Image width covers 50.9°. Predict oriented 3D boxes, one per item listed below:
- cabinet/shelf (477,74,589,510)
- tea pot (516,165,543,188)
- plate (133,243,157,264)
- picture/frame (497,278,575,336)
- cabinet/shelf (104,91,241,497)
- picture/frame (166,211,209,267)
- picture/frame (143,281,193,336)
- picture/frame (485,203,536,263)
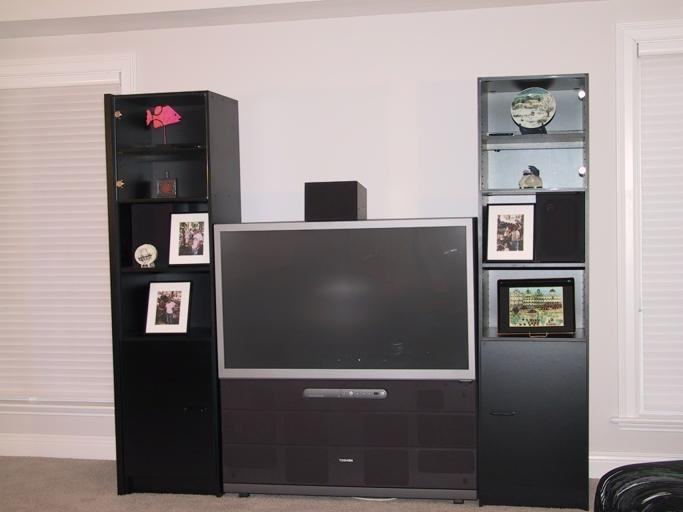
[{"bbox_3d":[1.238,0.226,4.687,0.691,2.752,0.518,0,-3,13],"label":"cabinet/shelf"},{"bbox_3d":[1.251,-0.523,4.755,0.193,0.185,0.134,1,1,2],"label":"tea pot"},{"bbox_3d":[-1.355,-0.012,4.939,0.134,0.132,0.032,6,0,2],"label":"plate"},{"bbox_3d":[1.263,0.340,4.638,0.372,0.266,0.039,0,-3,6],"label":"picture/frame"},{"bbox_3d":[-1.203,0.624,5.134,0.690,1.959,0.472,-11,-25,2],"label":"cabinet/shelf"},{"bbox_3d":[-1.050,-0.110,4.911,0.382,0.426,0.032,1,-3,4],"label":"picture/frame"},{"bbox_3d":[-1.186,0.365,4.913,0.368,0.426,0.037,1,-12,4],"label":"picture/frame"},{"bbox_3d":[1.097,-0.141,4.626,0.390,0.459,0.020,0,-4,9],"label":"picture/frame"}]
